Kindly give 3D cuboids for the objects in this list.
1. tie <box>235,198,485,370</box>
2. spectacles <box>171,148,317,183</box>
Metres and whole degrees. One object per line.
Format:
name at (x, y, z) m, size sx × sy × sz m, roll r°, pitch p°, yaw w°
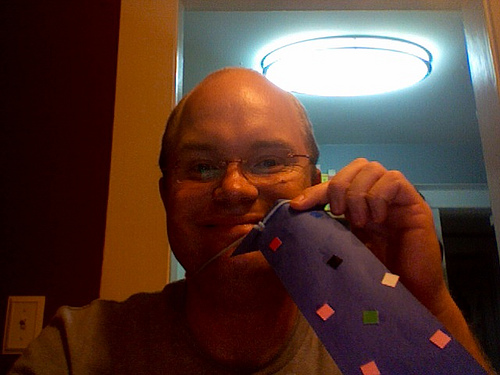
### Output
tie at (0.203, 0.224, 0.919) m, size 0.494 × 0.271 × 0.137 m, roll 46°, pitch -4°, yaw 19°
spectacles at (-0.038, -0.058, 1.146) m, size 0.321 × 0.095 × 0.039 m, roll 3°, pitch 4°, yaw 6°
